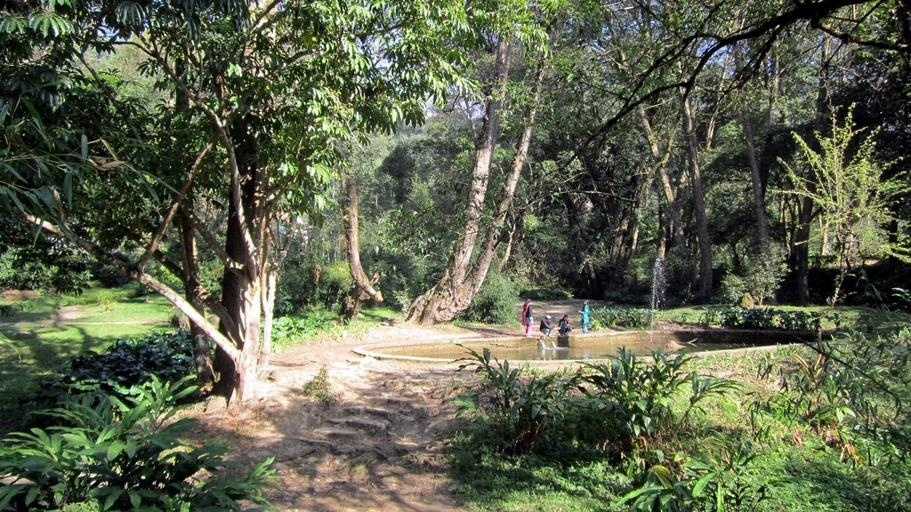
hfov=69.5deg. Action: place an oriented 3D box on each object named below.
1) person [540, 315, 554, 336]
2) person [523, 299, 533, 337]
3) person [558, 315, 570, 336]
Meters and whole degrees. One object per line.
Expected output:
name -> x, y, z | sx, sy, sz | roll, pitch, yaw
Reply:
person -> 3.358, 2.601, 24.198 | 0.402, 0.685, 1.113 | 4, -2, 6
person -> 2.682, 2.292, 24.296 | 0.330, 1.202, 1.237 | 4, -2, 4
person -> 4.152, 2.589, 24.725 | 0.473, 0.677, 1.583 | 4, -2, 10
